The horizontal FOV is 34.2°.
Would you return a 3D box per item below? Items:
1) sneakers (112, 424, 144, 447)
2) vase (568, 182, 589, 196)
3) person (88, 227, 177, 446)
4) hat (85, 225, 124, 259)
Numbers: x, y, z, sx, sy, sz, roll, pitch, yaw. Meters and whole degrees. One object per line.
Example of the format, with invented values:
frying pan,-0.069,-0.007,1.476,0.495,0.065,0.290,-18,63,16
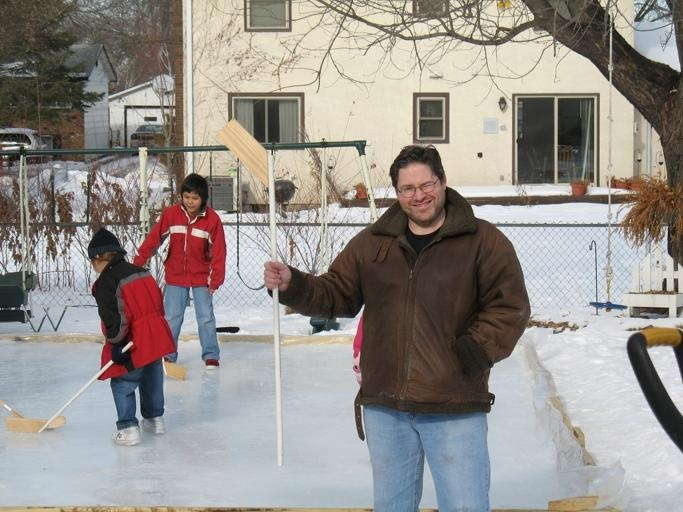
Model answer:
sneakers,-2.209,1.867,11.542,0.305,0.163,0.140,3,3,32
vase,5.026,-1.438,23.588,0.308,0.268,0.335,0,-3,4
person,-2.169,0.821,11.573,0.794,2.181,0.589,-4,14,-15
hat,-2.430,-0.155,11.507,0.340,0.290,0.265,-15,-5,29
